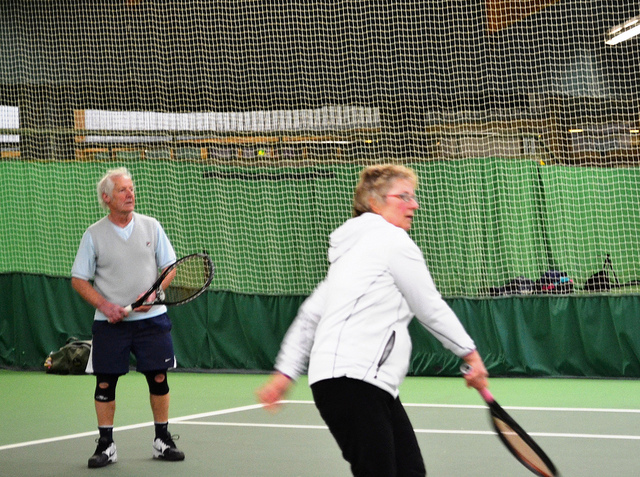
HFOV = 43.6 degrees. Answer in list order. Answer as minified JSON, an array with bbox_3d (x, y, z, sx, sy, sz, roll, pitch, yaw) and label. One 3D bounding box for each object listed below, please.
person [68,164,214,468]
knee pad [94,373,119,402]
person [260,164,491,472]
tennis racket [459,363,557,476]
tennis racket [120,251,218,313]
[{"bbox_3d":[-2.028,0.814,8.512,1.035,3.074,0.604,-3,5,-19],"label":"person"},{"bbox_3d":[-2.239,1.553,8.453,0.215,0.333,0.195,5,6,-4],"label":"knee pad"},{"bbox_3d":[0.470,0.606,6.146,1.137,2.349,0.611,-3,5,-20],"label":"person"},{"bbox_3d":[1.558,1.521,6.368,0.615,0.807,0.346,-1,4,3],"label":"tennis racket"},{"bbox_3d":[-1.857,0.555,10.866,1.665,0.540,0.137,-27,-6,-1],"label":"tennis racket"}]
